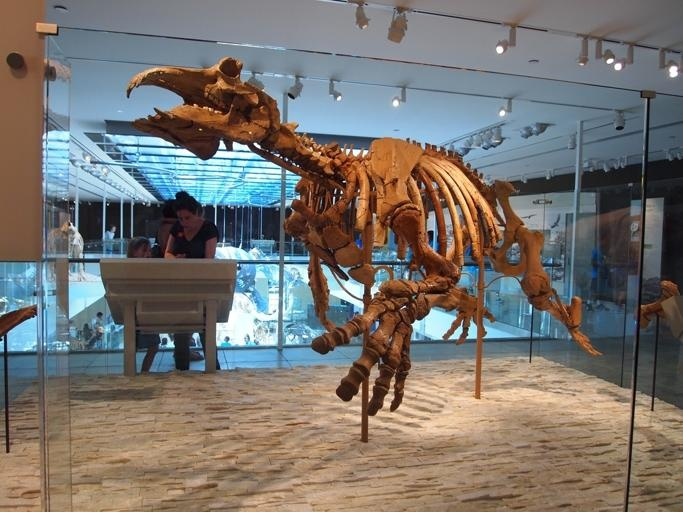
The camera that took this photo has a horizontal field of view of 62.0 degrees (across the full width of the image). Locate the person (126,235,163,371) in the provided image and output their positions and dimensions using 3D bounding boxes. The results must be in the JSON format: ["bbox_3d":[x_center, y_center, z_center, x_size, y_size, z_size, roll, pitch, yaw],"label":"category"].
[{"bbox_3d":[-1.748,0.454,5.079,0.273,1.254,0.201,-1,12,-22],"label":"person"}]

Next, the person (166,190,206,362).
[{"bbox_3d":[-1.341,0.255,5.107,0.444,1.685,0.215,1,12,-15],"label":"person"}]
